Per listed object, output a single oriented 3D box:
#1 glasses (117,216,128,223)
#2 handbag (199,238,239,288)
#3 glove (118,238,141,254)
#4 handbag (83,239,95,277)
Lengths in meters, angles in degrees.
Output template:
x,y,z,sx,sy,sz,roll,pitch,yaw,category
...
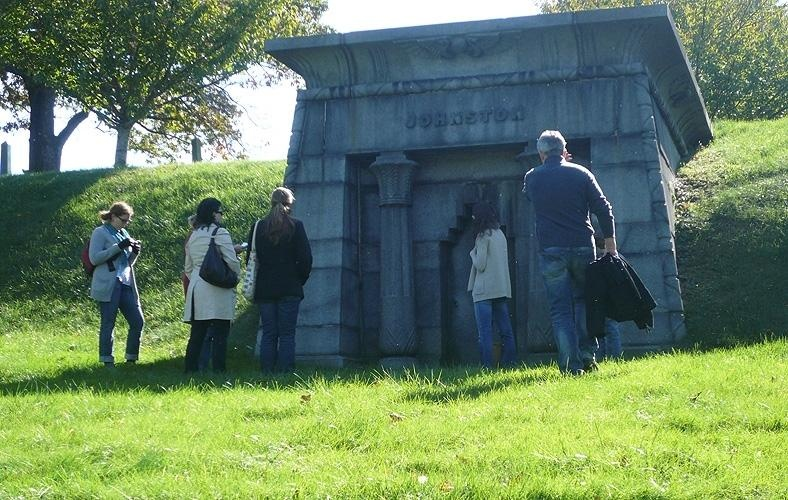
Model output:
x,y,z,sx,sy,sz,roll,pitch,yaw,category
-4.909,-0.557,18.450,0.113,0.128,0.062,5,14,-8,glasses
-3.072,0.236,17.692,0.270,0.614,0.602,-17,-36,25,handbag
-4.823,-0.063,18.415,0.431,0.327,0.317,-11,14,-27,glove
-5.630,0.186,18.562,0.178,0.729,0.855,-9,13,-18,handbag
